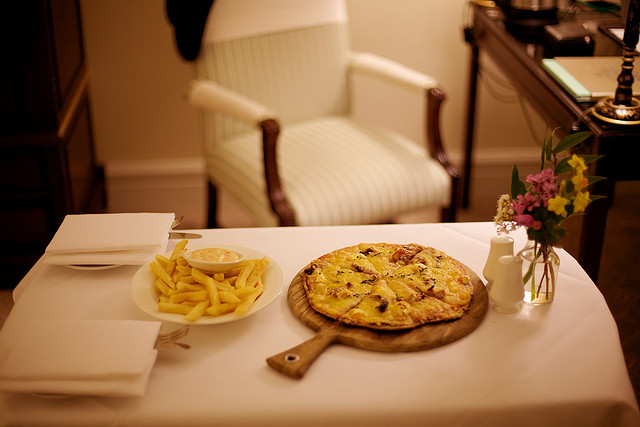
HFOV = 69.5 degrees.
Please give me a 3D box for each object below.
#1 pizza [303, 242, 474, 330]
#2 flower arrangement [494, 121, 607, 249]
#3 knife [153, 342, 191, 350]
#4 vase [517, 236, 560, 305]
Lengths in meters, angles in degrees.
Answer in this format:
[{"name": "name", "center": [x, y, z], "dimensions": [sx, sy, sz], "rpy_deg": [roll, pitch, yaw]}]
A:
[{"name": "pizza", "center": [0.189, 0.194, 1.332], "dimensions": [0.469, 0.061, 0.345], "rpy_deg": [-6, 32, -4]}, {"name": "flower arrangement", "center": [0.617, -0.023, 1.296], "dimensions": [0.198, 0.413, 0.213], "rpy_deg": [-4, 28, -10]}, {"name": "knife", "center": [-0.377, 0.334, 1.164], "dimensions": [0.121, 0.019, 0.016], "rpy_deg": [10, -9, -32]}, {"name": "vase", "center": [0.649, 0.149, 1.334], "dimensions": [0.104, 0.192, 0.106], "rpy_deg": [8, 9, 22]}]
